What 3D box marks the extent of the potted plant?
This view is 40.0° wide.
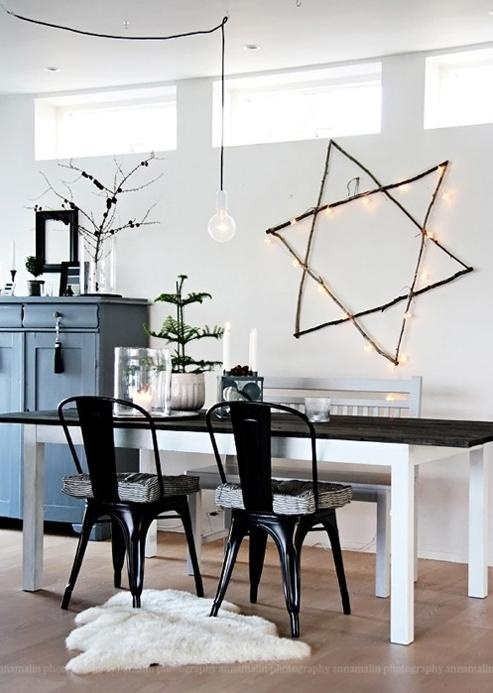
[{"bbox_3d":[-0.262,-0.004,2.866,0.334,0.556,0.295,-3,-1,-24],"label":"potted plant"}]

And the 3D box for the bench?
[{"bbox_3d":[0.217,0.526,2.520,0.880,0.824,0.343,-3,-5,32],"label":"bench"}]

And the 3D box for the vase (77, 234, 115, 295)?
[{"bbox_3d":[-0.888,-0.509,4.187,0.188,0.288,0.193,13,-10,-29],"label":"vase"}]

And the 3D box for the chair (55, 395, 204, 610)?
[{"bbox_3d":[-0.414,0.546,2.420,0.394,0.722,0.437,-5,-8,32],"label":"chair"}]
